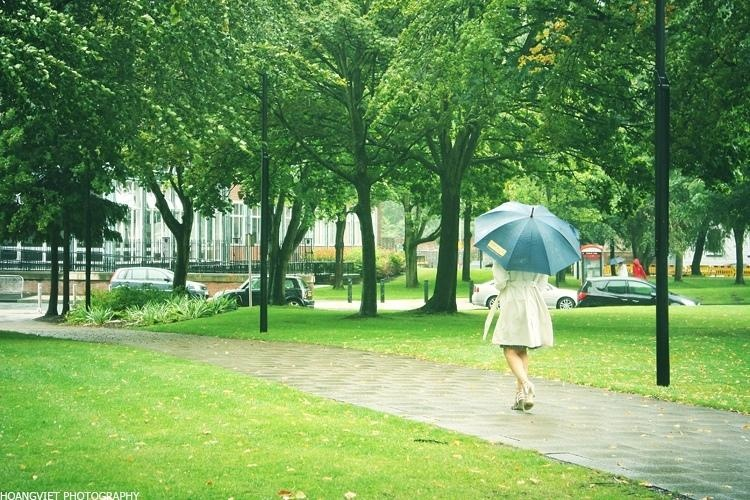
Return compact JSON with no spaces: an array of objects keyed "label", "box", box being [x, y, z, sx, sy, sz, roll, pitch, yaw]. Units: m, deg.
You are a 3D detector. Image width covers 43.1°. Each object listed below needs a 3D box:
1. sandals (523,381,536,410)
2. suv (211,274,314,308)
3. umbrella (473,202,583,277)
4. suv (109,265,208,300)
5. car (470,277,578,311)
[{"label":"sandals","box":[2.856,2.690,17.598,0.198,0.562,0.242,-5,12,-16]},{"label":"suv","box":[-4.473,1.797,41.326,5.660,2.017,2.466,0,-2,-4]},{"label":"umbrella","box":[2.847,-0.328,17.712,1.539,1.540,0.780,-6,-37,-15]},{"label":"suv","box":[-9.992,1.340,43.546,4.469,1.845,2.223,0,0,1]},{"label":"car","box":[6.780,2.009,41.761,4.872,1.690,2.265,-1,0,-2]}]
